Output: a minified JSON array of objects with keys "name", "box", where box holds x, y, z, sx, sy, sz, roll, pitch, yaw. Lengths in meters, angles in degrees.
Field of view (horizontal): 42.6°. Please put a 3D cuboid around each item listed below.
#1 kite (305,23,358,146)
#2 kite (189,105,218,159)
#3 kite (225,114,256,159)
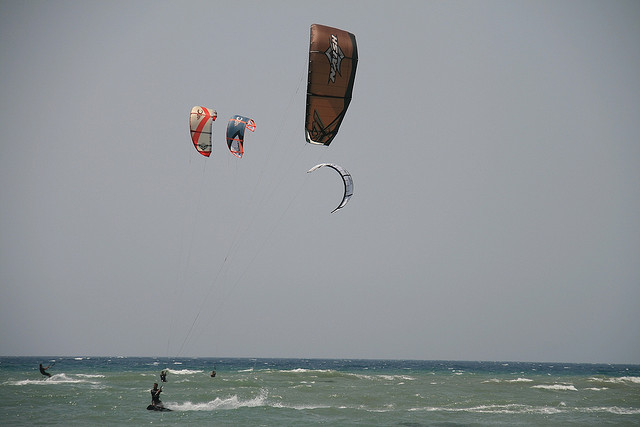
[{"name":"kite","box":[0.441,-6.022,40.052,2.500,0.682,5.840,6,-87,-24]},{"name":"kite","box":[-6.099,-4.281,42.364,1.209,1.540,1.983,8,-58,-2]},{"name":"kite","box":[-4.096,-3.840,42.822,1.293,1.376,2.186,9,-84,18]}]
